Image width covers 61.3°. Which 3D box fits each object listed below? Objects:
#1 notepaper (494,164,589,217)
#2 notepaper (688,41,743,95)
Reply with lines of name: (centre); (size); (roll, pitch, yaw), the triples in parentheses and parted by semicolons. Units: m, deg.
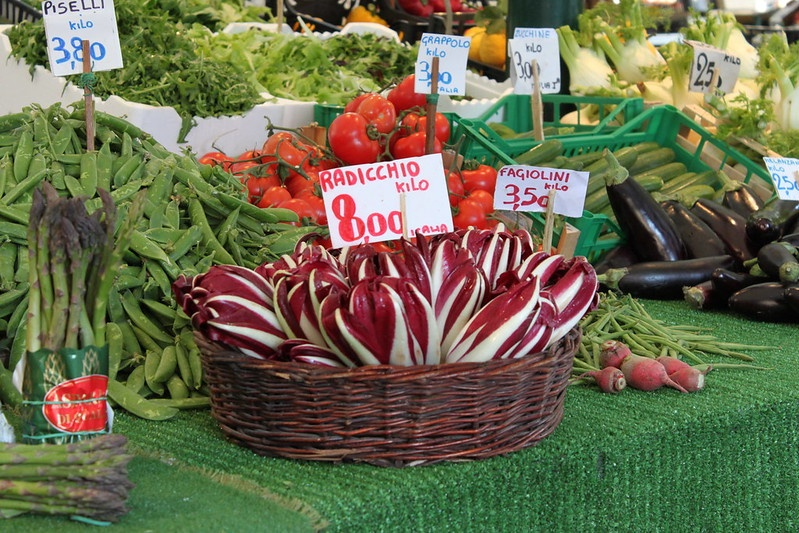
notepaper: (0.627, -0.336, 3.048); (0.378, 0.229, 0.017); (5, 35, 5)
notepaper: (2.165, -1.354, 4.755); (0.397, 0.276, 0.274); (1, 11, -23)
